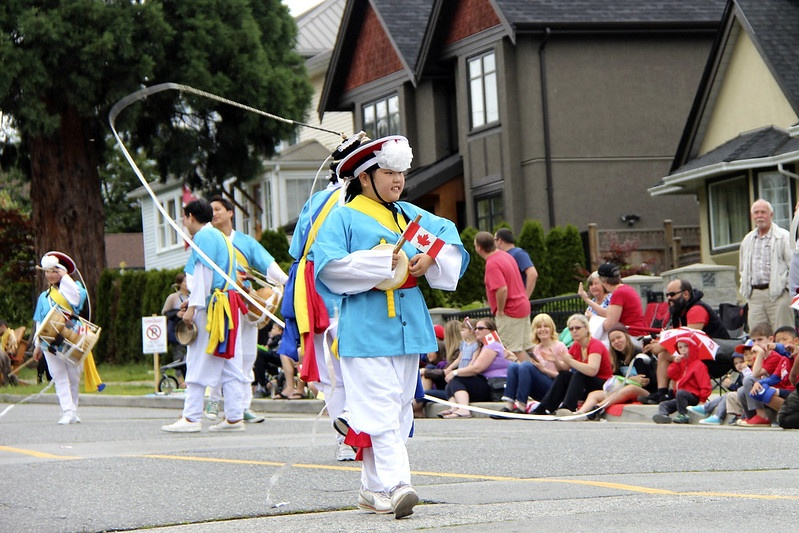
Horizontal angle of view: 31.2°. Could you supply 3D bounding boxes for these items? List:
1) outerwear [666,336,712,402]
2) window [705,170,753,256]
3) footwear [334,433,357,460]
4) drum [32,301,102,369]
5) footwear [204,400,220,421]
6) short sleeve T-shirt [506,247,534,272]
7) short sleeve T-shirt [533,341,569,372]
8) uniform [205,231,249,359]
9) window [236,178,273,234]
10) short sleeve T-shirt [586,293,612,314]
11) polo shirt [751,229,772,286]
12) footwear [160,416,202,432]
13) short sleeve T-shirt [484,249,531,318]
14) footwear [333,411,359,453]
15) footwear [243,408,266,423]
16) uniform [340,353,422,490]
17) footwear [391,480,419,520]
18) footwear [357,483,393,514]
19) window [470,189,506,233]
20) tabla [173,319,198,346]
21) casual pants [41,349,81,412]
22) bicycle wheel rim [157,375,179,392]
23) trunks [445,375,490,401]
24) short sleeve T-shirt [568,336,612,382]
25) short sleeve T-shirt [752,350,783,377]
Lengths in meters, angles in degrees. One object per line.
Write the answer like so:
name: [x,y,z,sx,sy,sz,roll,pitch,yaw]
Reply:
outerwear: [4.462,1.631,21.651,0.782,1.030,0.550,-4,-12,45]
window: [7.417,-1.246,31.830,0.180,2.037,1.939,1,-4,-30]
footwear: [-0.713,2.442,18.989,0.269,0.280,0.690,1,-4,-11]
drum: [-5.435,1.095,23.033,1.062,0.906,0.990,27,9,-8]
footwear: [-2.965,2.301,22.732,0.250,0.263,0.708,13,-6,-9]
short sleeve T-shirt: [2.062,-0.103,24.559,0.244,0.336,0.491,-31,11,-18]
short sleeve T-shirt: [2.388,1.433,22.352,0.416,0.368,0.223,-11,-28,27]
uniform: [-2.603,0.523,21.367,0.564,1.696,0.553,6,14,21]
window: [-4.909,-2.068,48.540,0.181,2.621,2.445,-9,10,-36]
short sleeve T-shirt: [3.238,0.604,22.981,0.421,0.229,0.427,-31,16,-30]
polo shirt: [5.956,-0.072,23.452,0.286,0.771,0.427,10,-8,-43]
footwear: [-3.297,2.388,21.519,0.643,0.228,0.223,3,-4,-2]
short sleeve T-shirt: [1.806,0.278,23.560,0.783,1.226,1.149,-5,1,22]
footwear: [-0.630,1.975,17.003,0.197,0.241,0.577,-15,-46,17]
footwear: [-2.366,2.424,22.880,0.156,0.152,0.409,-1,-1,-35]
uniform: [-0.180,1.642,16.579,0.799,1.988,0.814,-7,-23,16]
footwear: [0.042,2.658,16.133,0.320,0.401,0.204,1,-4,-1]
footwear: [-0.280,2.694,16.334,0.439,0.272,0.080,-1,-4,26]
window: [2.301,-1.440,36.511,0.132,1.418,1.450,-1,-3,-33]
tabla: [-3.223,0.998,21.374,0.258,0.394,0.388,4,-4,-37]
casual pants: [-5.387,1.872,22.950,0.402,1.121,0.309,-5,-24,-21]
bicycle wheel rim: [-4.649,2.413,29.285,0.632,0.343,0.291,-5,5,-2]
trunks: [1.132,1.975,23.051,0.574,0.190,0.428,0,1,33]
short sleeve T-shirt: [2.946,1.438,22.122,0.672,0.647,0.706,0,0,19]
short sleeve T-shirt: [5.377,1.431,20.882,0.430,0.394,0.338,8,-6,25]
